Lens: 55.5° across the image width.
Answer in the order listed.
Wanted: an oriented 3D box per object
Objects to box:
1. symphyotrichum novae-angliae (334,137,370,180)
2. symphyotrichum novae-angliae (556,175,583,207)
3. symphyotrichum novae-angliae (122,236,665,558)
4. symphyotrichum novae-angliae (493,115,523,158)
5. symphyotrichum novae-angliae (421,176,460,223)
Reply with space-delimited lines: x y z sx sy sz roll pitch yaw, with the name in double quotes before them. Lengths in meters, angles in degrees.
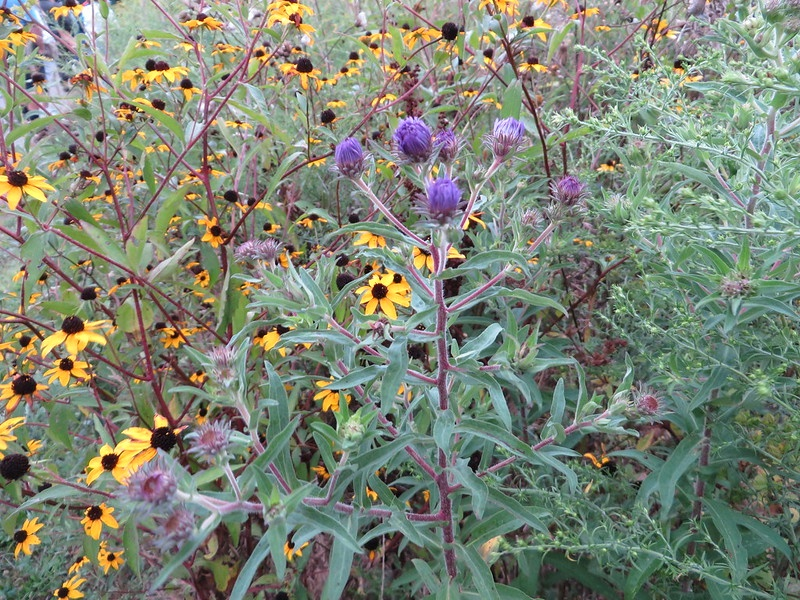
"symphyotrichum novae-angliae" -0.197 -0.572 3.045 0.125 0.129 0.160 -3 47 2
"symphyotrichum novae-angliae" 0.717 -0.454 3.264 0.115 0.127 0.125 -10 56 17
"symphyotrichum novae-angliae" -0.057 0.530 3.102 1.879 1.211 0.841 -12 46 -5
"symphyotrichum novae-angliae" 0.430 -0.661 3.053 0.126 0.122 0.167 2 48 8
"symphyotrichum novae-angliae" 0.158 -0.375 2.830 0.140 0.184 0.159 -12 46 -7
